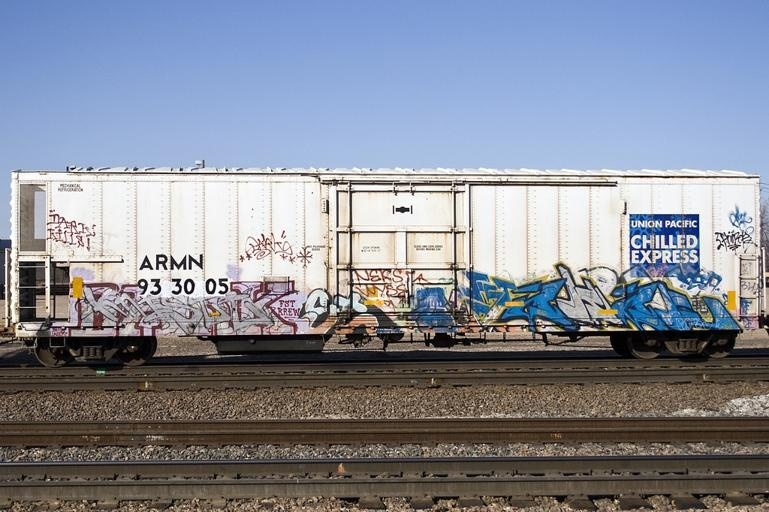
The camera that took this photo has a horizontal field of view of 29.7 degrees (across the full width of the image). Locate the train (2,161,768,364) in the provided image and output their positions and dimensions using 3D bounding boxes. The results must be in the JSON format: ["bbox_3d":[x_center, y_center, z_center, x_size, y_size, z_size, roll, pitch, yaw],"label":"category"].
[{"bbox_3d":[0.161,-0.099,33.513,16.155,4.294,1.654,-2,0,4],"label":"train"}]
